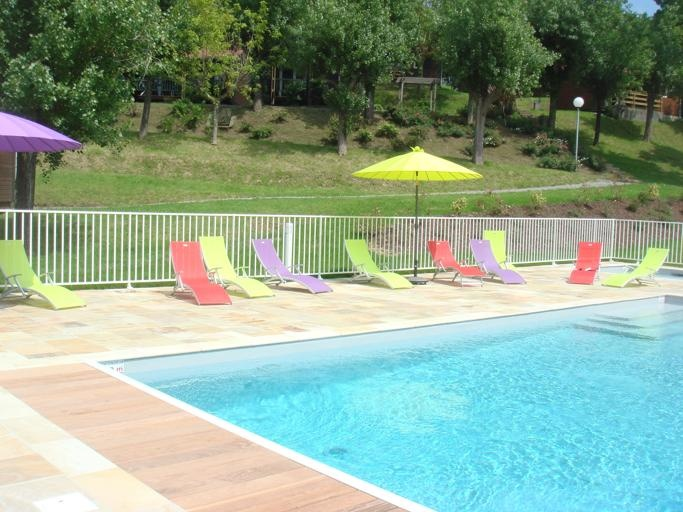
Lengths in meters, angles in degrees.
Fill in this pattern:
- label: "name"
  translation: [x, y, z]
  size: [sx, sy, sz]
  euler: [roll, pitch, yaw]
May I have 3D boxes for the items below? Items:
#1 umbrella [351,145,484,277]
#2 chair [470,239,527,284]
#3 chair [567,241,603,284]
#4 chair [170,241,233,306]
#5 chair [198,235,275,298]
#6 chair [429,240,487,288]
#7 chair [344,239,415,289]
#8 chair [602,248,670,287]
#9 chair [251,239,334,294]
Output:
- label: "umbrella"
  translation: [1.841, -1.574, 16.202]
  size: [2.786, 2.012, 2.847]
  euler: [18, 27, 40]
- label: "chair"
  translation: [3.746, 0.086, 16.902]
  size: [0.868, 0.910, 1.625]
  euler: [-8, 17, -32]
- label: "chair"
  translation: [6.159, 0.176, 17.335]
  size: [0.697, 0.682, 1.641]
  euler: [3, 22, 32]
- label: "chair"
  translation: [-2.640, 0.329, 12.780]
  size: [0.744, 0.794, 1.585]
  euler: [-3, 19, -36]
- label: "chair"
  translation: [-2.106, 0.140, 13.764]
  size: [1.941, 1.014, 0.895]
  euler: [23, 22, 37]
- label: "chair"
  translation: [2.737, 0.149, 16.212]
  size: [0.940, 0.711, 1.401]
  euler: [-4, 11, -30]
- label: "chair"
  translation: [0.853, 0.185, 15.463]
  size: [0.682, 0.758, 1.647]
  euler: [-6, 16, -39]
- label: "chair"
  translation: [7.179, 0.291, 16.699]
  size: [1.684, 0.765, 0.692]
  euler: [-8, 8, -27]
- label: "chair"
  translation: [-1.059, 0.203, 14.425]
  size: [1.741, 0.709, 0.760]
  euler: [16, 19, 34]
